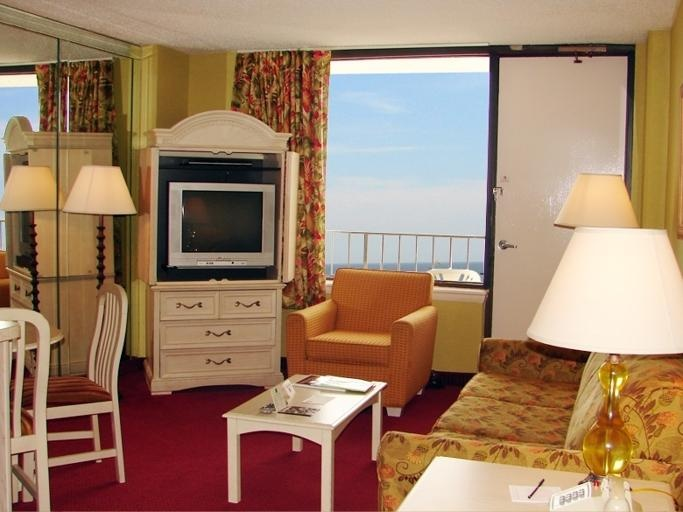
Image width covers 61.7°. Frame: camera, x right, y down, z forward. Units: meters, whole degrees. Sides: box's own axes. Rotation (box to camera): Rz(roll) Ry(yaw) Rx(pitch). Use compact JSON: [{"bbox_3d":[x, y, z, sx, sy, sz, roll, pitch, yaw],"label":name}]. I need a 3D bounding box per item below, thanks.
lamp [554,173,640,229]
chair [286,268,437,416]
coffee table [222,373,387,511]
[{"bbox_3d":[1.701,-0.375,3.815,0.476,0.337,0.210,4,7,21],"label":"lamp"},{"bbox_3d":[0.176,0.615,5.053,1.260,1.232,1.148,2,0,22],"label":"chair"},{"bbox_3d":[-0.260,0.878,3.355,0.655,0.489,0.994,2,5,22],"label":"coffee table"}]
